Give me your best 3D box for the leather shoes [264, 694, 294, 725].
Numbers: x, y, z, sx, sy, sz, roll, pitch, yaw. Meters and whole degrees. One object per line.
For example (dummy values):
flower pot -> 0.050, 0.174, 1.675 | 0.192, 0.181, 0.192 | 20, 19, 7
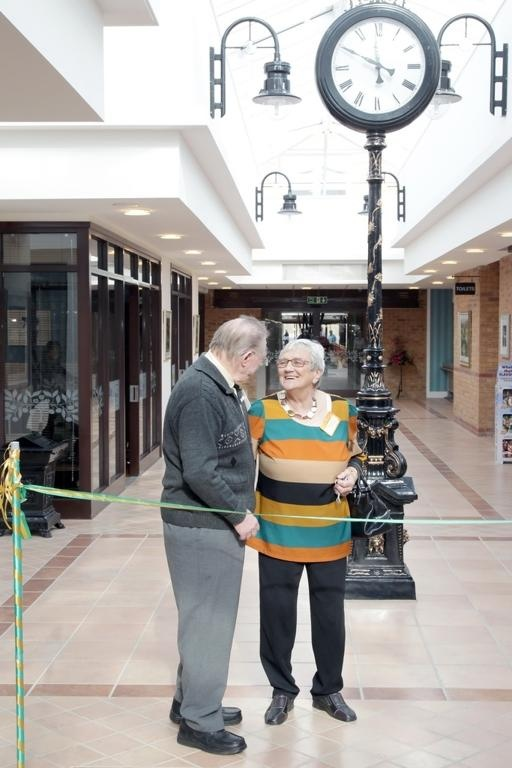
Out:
leather shoes -> 0.079, 1.197, 2.270 | 0.052, 0.063, 0.145 | -2, -7, 13

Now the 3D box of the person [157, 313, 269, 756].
person -> -0.134, 0.502, 1.999 | 0.334, 1.436, 0.392 | 0, -4, -9

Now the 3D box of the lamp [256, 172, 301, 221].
lamp -> 0.400, -3.585, 11.951 | 0.901, 1.088, 0.389 | 3, -4, -10

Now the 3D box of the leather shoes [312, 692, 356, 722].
leather shoes -> 0.296, 1.214, 2.345 | 0.064, 0.071, 0.173 | 4, -8, -37

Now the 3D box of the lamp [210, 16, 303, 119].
lamp -> -0.002, -2.639, 5.201 | 0.765, 0.863, 0.425 | 0, 3, -4

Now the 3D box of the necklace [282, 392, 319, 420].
necklace -> 0.152, 0.085, 2.185 | 0.127, 0.096, 0.066 | 0, -4, 2

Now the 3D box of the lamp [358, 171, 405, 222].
lamp -> 2.654, -3.887, 12.921 | 0.872, 0.333, 1.174 | 8, -44, 23

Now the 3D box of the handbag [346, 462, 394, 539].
handbag -> 0.426, 0.390, 2.340 | 0.107, 0.227, 0.185 | -13, -45, 19

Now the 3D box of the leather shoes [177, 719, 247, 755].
leather shoes -> -0.146, 1.183, 2.086 | 0.238, 0.105, 0.087 | -1, 0, 19
